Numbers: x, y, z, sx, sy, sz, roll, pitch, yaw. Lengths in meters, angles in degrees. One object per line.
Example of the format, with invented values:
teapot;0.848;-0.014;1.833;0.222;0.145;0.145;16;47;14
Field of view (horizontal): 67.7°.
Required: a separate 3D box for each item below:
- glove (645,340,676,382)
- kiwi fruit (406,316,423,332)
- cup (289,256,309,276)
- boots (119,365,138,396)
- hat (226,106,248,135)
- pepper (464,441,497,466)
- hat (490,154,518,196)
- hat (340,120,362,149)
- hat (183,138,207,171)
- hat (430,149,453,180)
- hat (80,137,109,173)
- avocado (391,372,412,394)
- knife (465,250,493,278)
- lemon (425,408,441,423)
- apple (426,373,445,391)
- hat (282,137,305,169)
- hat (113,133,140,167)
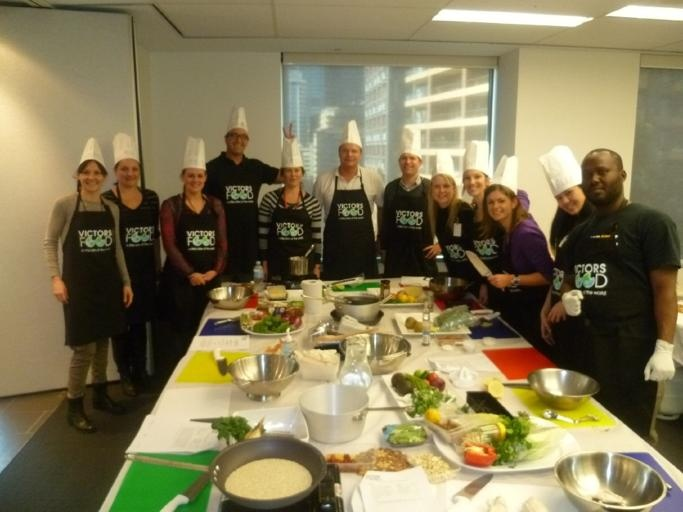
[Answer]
glove;1.629;0.537;2.612;0.148;0.216;0.074;7;18;19
kiwi fruit;0.406;0.386;2.888;0.043;0.056;0.092;-48;35;-12
cup;-0.324;0.073;3.798;0.135;0.140;0.144;0;2;0
boots;-1.755;1.037;4.188;0.110;0.194;0.281;-5;8;-28
hat;-0.932;-1.207;4.535;0.149;0.220;0.234;-3;13;-4
pepper;0.521;0.746;1.911;0.122;0.069;0.064;-2;13;1
hat;1.127;-0.562;3.520;0.162;0.251;0.237;1;13;15
hat;0.093;-1.113;4.705;0.239;0.284;0.286;2;7;0
hat;-1.199;-0.841;4.187;0.175;0.236;0.159;6;8;-19
hat;0.852;-0.766;4.246;0.223;0.240;0.248;-2;-2;0
hat;-1.797;-0.731;3.682;0.195;0.215;0.225;-1;20;-39
avocado;0.270;0.574;2.278;0.052;0.051;0.106;-18;12;2
knife;0.981;0.053;3.602;0.052;0.251;0.021;-39;-18;3
lemon;0.371;0.644;2.053;0.052;0.051;0.050;1;-9;2
apple;0.427;0.565;2.280;0.055;0.055;0.074;1;4;11
hat;-0.445;-0.913;4.540;0.221;0.266;0.263;-1;10;-6
hat;-1.678;-0.837;4.052;0.233;0.205;0.261;-3;-3;-8
